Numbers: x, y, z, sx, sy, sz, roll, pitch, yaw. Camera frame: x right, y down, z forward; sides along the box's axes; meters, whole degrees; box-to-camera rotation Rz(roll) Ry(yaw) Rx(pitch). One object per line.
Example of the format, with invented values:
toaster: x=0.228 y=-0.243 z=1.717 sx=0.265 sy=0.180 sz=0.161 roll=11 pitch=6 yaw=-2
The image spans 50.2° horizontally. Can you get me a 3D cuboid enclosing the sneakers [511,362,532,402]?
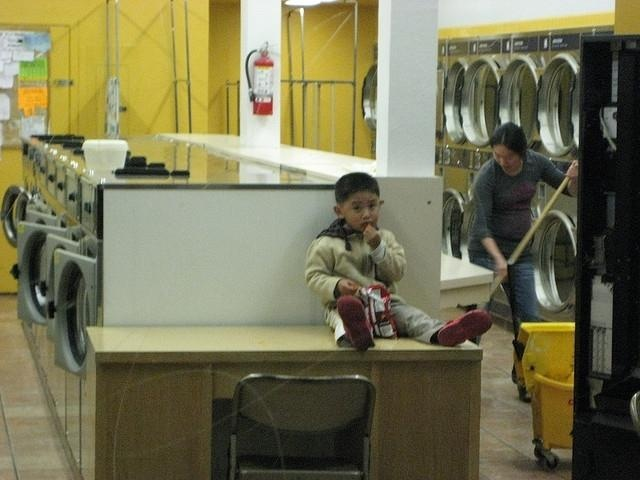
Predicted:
sneakers: x=1.015 y=0.702 z=3.429 sx=0.061 sy=0.194 sz=0.129 roll=-5 pitch=-3 yaw=-1

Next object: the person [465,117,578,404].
person: x=1.004 y=0.152 z=3.684 sx=0.489 sy=1.533 sz=0.511 roll=-5 pitch=15 yaw=-37

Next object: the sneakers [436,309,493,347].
sneakers: x=0.436 y=0.232 z=2.085 sx=0.170 sy=0.128 sz=0.130 roll=-4 pitch=12 yaw=-38

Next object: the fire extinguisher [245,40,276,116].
fire extinguisher: x=-0.398 y=-1.043 z=4.541 sx=0.154 sy=0.513 sz=0.148 roll=-1 pitch=9 yaw=-23
